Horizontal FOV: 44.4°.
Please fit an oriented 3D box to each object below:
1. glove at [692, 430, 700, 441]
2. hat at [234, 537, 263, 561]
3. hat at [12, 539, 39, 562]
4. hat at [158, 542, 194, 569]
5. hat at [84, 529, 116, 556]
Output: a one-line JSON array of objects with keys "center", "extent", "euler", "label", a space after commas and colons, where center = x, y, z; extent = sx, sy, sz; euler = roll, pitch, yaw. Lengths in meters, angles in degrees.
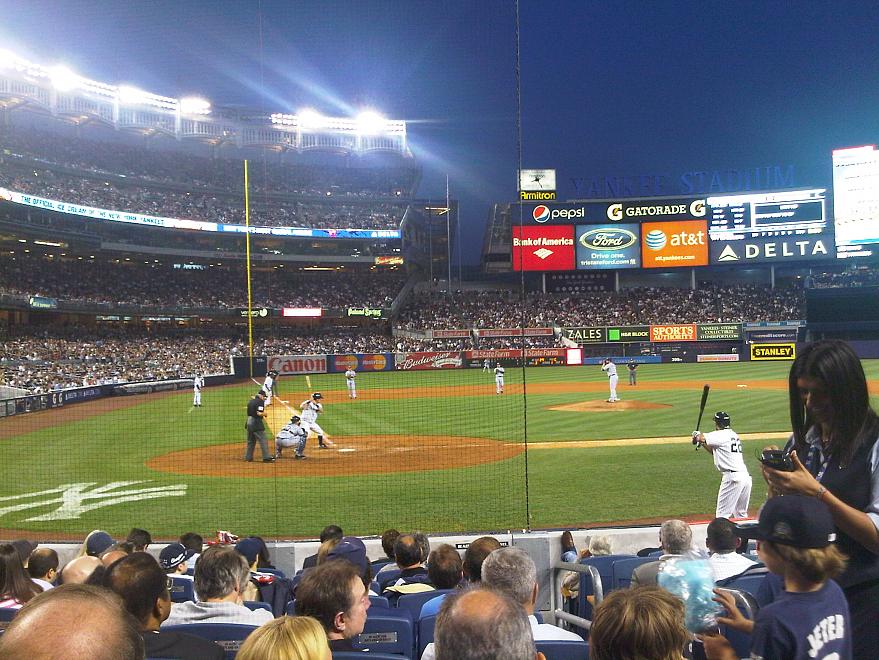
[{"center": [9.982, 4.065, 41.347], "extent": [0.305, 0.428, 0.556], "euler": [-1, -1, 11], "label": "glove"}, {"center": [-6.615, 7.602, 37.639], "extent": [0.624, 0.482, 0.859], "euler": [0, 11, -3], "label": "hat"}, {"center": [-14.704, 7.700, 38.057], "extent": [0.767, 0.312, 1.111], "euler": [1, 1, -5], "label": "hat"}, {"center": [-9.123, 7.793, 37.405], "extent": [0.740, 0.515, 1.036], "euler": [13, 29, 22], "label": "hat"}, {"center": [-12.126, 7.558, 38.178], "extent": [0.686, 0.616, 1.111], "euler": [9, 12, -7], "label": "hat"}]
